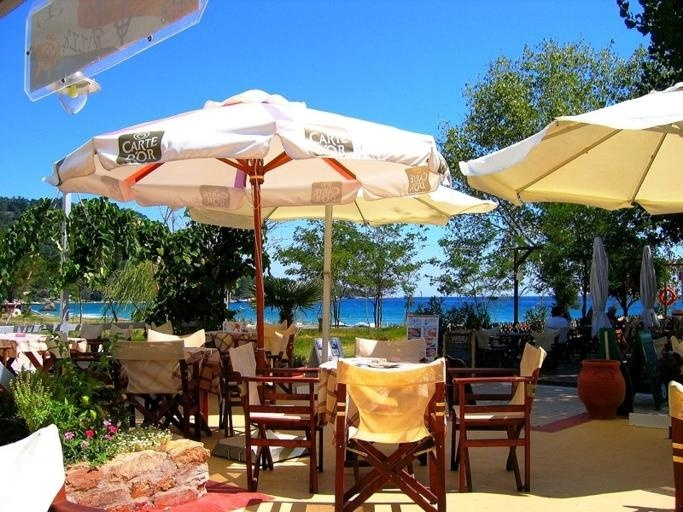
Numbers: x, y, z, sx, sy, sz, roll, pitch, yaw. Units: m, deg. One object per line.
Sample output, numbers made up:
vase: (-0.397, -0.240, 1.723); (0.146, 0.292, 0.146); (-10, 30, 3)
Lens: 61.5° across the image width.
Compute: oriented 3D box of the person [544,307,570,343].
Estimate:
person: (5.355, 1.694, 14.269); (0.508, 0.961, 1.931); (-2, -4, 21)
